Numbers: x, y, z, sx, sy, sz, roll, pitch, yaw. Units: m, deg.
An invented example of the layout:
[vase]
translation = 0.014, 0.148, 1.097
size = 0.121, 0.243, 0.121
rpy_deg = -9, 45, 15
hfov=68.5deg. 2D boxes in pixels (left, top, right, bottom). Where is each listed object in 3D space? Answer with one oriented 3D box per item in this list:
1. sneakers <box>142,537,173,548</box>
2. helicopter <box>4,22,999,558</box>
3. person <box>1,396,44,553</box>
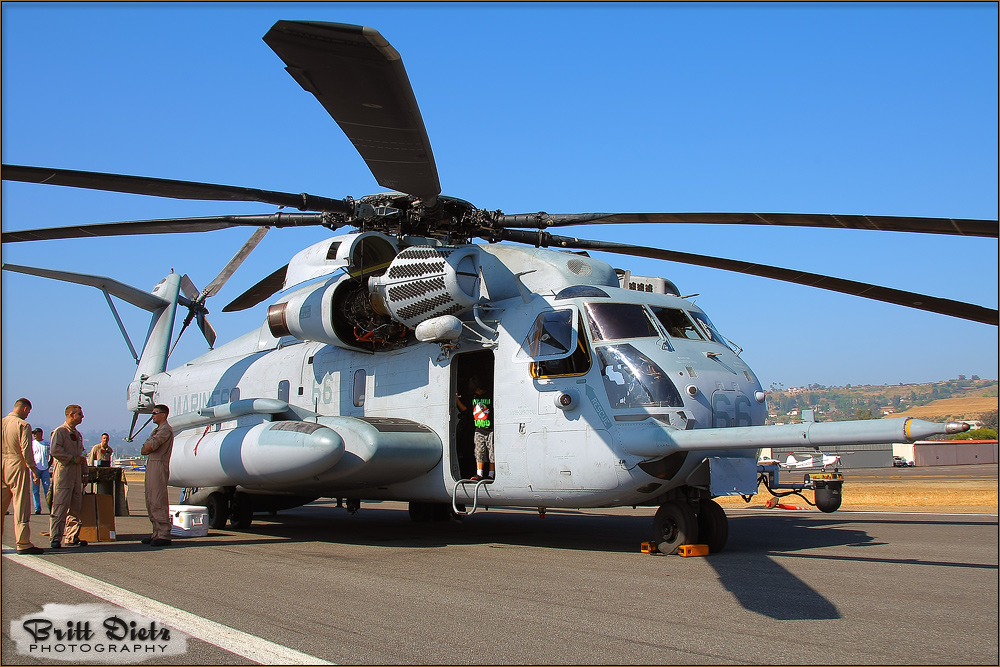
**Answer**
[sneakers]
translation = -5.978, 3.639, 12.837
size = 0.209, 0.162, 0.467
rpy_deg = 4, -12, -15
[helicopter]
translation = -0.954, 0.503, 12.727
size = 10.966, 3.543, 11.548
rpy_deg = 5, -7, -41
[person]
translation = -7.741, 2.297, 11.836
size = 0.531, 2.462, 0.384
rpy_deg = -6, -10, -16
